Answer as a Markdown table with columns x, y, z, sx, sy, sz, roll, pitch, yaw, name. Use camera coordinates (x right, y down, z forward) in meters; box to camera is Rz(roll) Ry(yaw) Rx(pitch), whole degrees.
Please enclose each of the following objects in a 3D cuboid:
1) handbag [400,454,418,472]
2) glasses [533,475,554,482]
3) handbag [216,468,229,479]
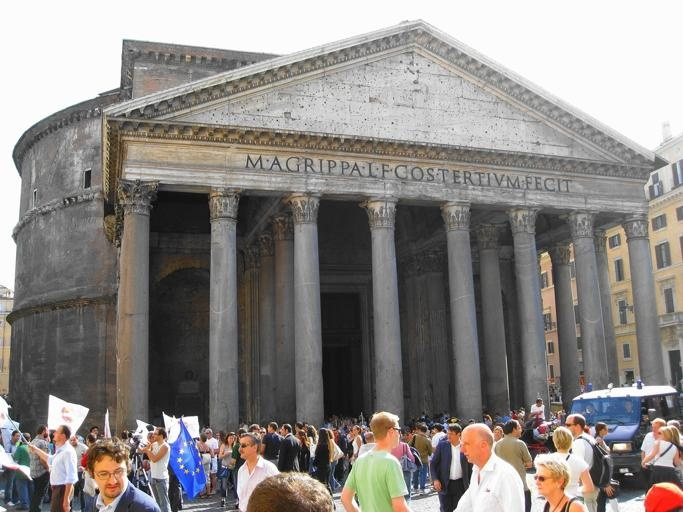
| x | y | z | sx | sy | sz | roll | pitch | yaw | name |
| --- | --- | --- | --- | --- | --- | --- | --- | --- | --- |
| 1.823 | 5.481 | 19.752 | 0.472 | 0.491 | 0.975 | -4 | -14 | 6 | handbag |
| 3.363 | 3.698 | 12.430 | 0.225 | 0.109 | 0.056 | -11 | -16 | 33 | glasses |
| -3.734 | 6.790 | 23.379 | 0.386 | 0.367 | 0.181 | 3 | -5 | 4 | handbag |
